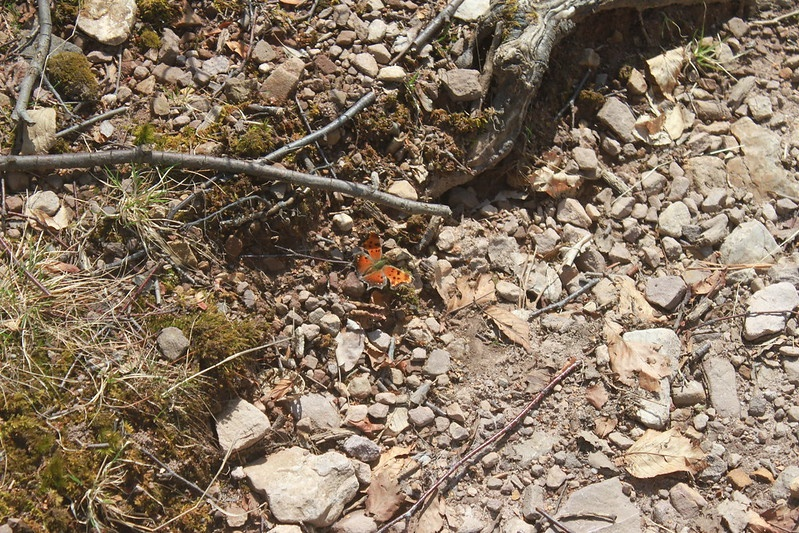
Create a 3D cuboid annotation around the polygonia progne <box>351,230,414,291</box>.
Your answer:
[{"bbox_3d":[-0.118,-0.003,6.732,0.511,0.336,0.344,21,33,0],"label":"polygonia progne"}]
